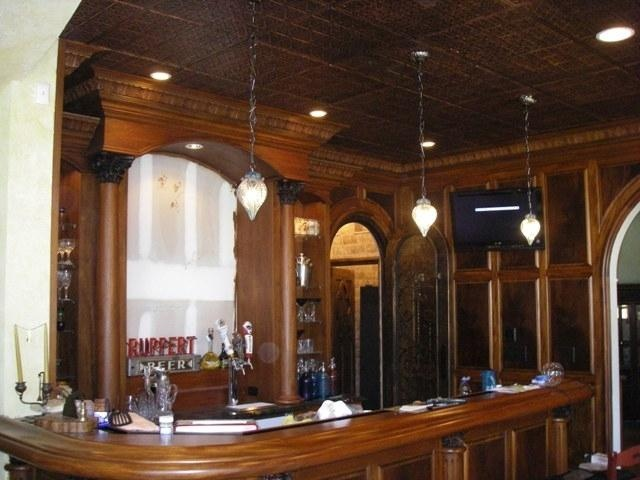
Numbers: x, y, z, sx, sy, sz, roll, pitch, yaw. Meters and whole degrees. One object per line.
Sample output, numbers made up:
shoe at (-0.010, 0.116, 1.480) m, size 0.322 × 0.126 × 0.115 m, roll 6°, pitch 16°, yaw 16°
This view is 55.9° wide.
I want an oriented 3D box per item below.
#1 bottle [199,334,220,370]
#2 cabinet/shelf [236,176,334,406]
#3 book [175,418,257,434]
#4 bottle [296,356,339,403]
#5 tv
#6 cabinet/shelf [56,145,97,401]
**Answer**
bottle at (-1.158, 1.179, 6.400) m, size 0.220 × 0.466 × 0.220 m, roll 3°, pitch -9°, yaw 1°
cabinet/shelf at (-0.309, 0.581, 7.001) m, size 0.768 × 2.442 × 1.230 m, roll -7°, pitch -10°, yaw 35°
book at (-0.670, 1.201, 3.871) m, size 0.579 × 0.050 × 0.287 m, roll -3°, pitch -9°, yaw 6°
bottle at (-0.078, 1.588, 6.901) m, size 0.483 × 0.499 × 0.290 m, roll 3°, pitch -7°, yaw -30°
tv at (2.074, -0.243, 7.019) m, size 0.701 × 0.542 × 0.098 m, roll 2°, pitch 16°, yaw 28°
cabinet/shelf at (-2.253, 0.328, 5.627) m, size 0.362 × 2.262 × 0.321 m, roll 1°, pitch -8°, yaw -19°
